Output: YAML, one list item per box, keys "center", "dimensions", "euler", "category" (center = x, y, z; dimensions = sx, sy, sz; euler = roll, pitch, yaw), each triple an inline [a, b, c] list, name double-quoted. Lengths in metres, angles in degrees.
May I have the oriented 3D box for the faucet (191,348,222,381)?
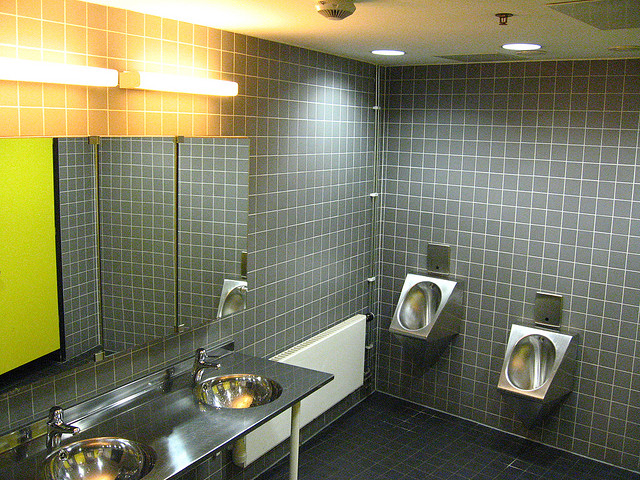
- center: [-0.692, 0.718, 3.033]
  dimensions: [0.236, 0.165, 0.100]
  euler: [0, 2, 42]
  category: "faucet"

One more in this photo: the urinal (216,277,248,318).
- center: [-0.541, 0.381, 3.395]
  dimensions: [0.195, 0.297, 0.214]
  euler: [6, 22, -10]
  category: "urinal"

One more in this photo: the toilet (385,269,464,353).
- center: [0.906, 0.657, 4.386]
  dimensions: [0.524, 0.602, 0.555]
  euler: [7, 14, 20]
  category: "toilet"

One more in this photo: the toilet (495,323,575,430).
- center: [1.630, 1.106, 3.951]
  dimensions: [0.502, 0.751, 0.541]
  euler: [9, 15, 27]
  category: "toilet"
